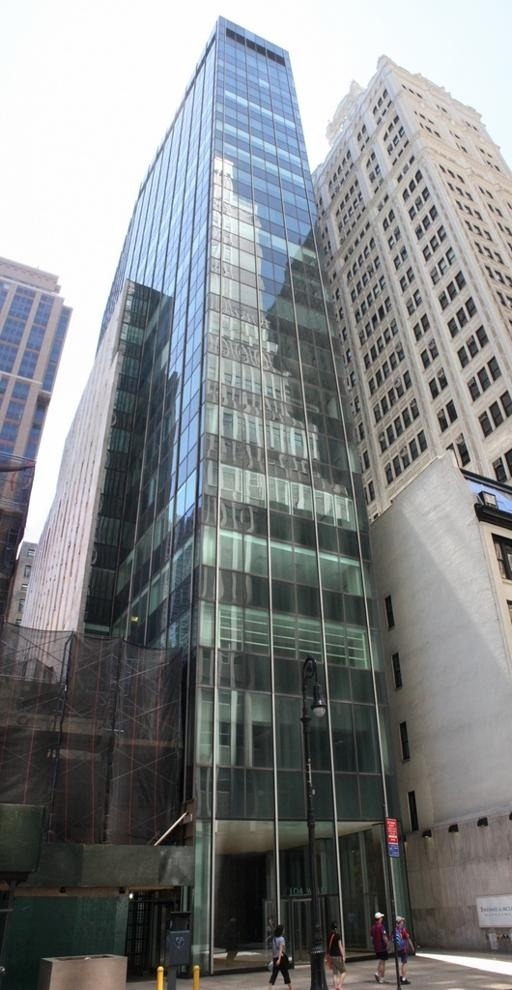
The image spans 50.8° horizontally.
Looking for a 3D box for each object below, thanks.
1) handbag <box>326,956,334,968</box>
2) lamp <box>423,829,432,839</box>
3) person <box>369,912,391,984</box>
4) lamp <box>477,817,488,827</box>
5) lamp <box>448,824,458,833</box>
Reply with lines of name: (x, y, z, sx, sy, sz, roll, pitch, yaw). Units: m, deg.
handbag: (1.665, 10.566, 12.128, 0.095, 0.208, 0.403, -1, -34, -5)
lamp: (7.945, 15.573, 24.660, 0.086, 0.338, 0.630, 6, -36, -16)
person: (3.420, 12.491, 14.930, 0.406, 1.448, 3.676, -7, -35, 7)
lamp: (9.140, 13.099, 21.462, 0.153, 0.328, 0.708, 3, -35, -11)
lamp: (8.567, 14.342, 23.133, 0.364, 0.488, 0.263, 3, -22, 8)
